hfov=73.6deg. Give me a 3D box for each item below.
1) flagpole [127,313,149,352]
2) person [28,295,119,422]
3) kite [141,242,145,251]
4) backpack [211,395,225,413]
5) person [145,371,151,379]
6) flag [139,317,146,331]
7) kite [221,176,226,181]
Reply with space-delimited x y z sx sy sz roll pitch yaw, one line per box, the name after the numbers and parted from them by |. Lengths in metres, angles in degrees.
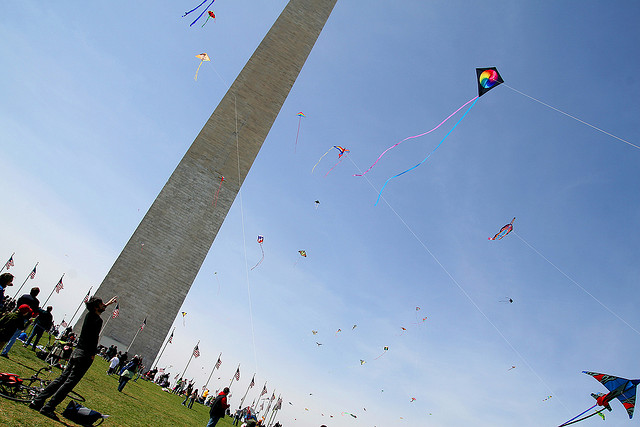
-10.227 6.699 23.890 0.074 2.791 0.135 14 -34 27 | flagpole
-5.208 3.065 9.112 0.791 2.369 1.033 31 -28 -14 | person
-10.396 1.946 25.082 0.122 0.507 0.132 4 -3 -28 | kite
-2.836 5.252 11.897 0.111 0.430 0.299 16 -11 45 | backpack
-10.012 9.380 24.952 0.191 0.439 0.707 29 -28 -9 | person
-9.976 6.255 24.093 0.153 0.602 0.096 25 -15 -11 | flag
-6.219 -2.239 27.332 0.281 0.312 0.089 31 -28 -11 | kite
